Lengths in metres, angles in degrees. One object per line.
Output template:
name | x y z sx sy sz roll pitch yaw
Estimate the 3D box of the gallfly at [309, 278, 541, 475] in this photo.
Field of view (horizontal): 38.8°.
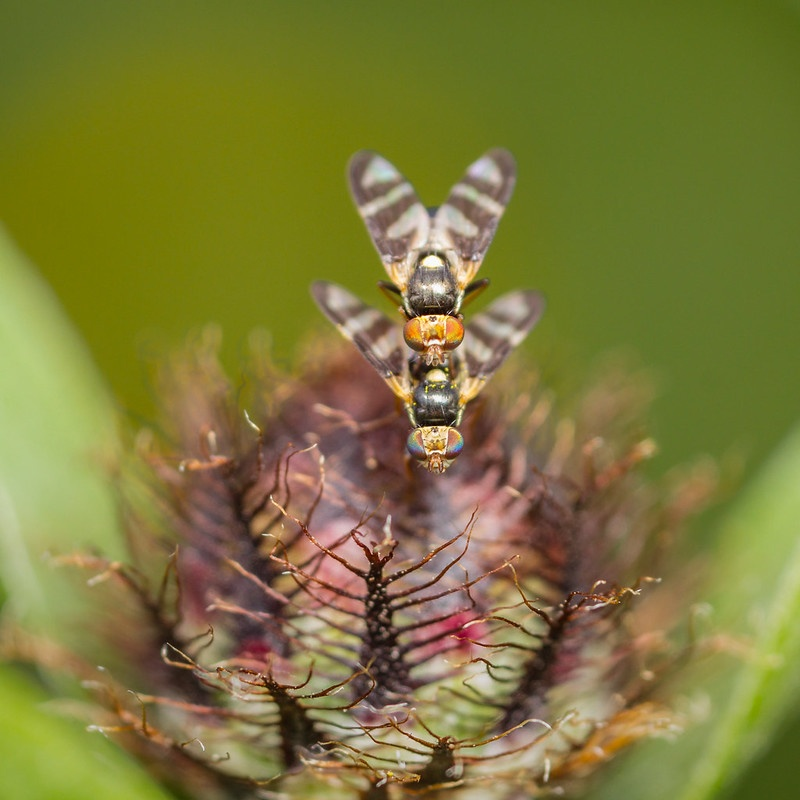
gallfly | 0.038 -0.031 1.261 0.320 0.197 0.133 0 -10 -1
